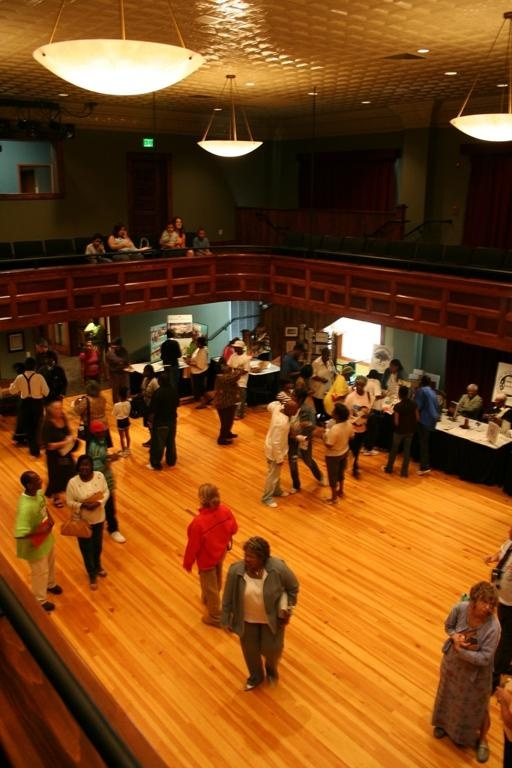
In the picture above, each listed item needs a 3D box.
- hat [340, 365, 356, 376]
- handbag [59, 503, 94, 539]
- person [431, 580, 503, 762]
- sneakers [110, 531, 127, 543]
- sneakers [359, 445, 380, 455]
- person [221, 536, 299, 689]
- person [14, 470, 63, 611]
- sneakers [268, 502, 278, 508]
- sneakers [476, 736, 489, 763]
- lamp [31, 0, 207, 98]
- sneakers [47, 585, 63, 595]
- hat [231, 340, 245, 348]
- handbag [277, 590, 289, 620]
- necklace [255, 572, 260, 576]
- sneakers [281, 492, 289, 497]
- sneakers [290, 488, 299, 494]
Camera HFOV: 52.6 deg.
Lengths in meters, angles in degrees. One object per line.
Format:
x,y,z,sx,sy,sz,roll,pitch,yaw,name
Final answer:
1.823,-0.263,10.266,0.242,0.198,0.570,2,13,7,hat
-2.016,1.609,5.813,0.302,0.430,0.290,-4,14,-18,handbag
1.661,2.266,4.075,0.450,1.565,0.384,6,14,23,person
-1.928,2.136,7.266,0.224,0.098,0.115,16,23,40,sneakers
2.252,1.301,10.147,0.318,0.143,0.139,-2,26,3,sneakers
0.044,1.951,4.413,0.615,1.400,0.459,0,12,6,person
-2.392,1.702,5.647,0.409,1.796,0.672,-6,14,-23,person
0.285,1.895,8.144,0.159,0.055,0.121,-5,14,-22,sneakers
1.844,2.966,4.193,0.070,0.056,0.183,1,26,17,sneakers
-0.836,-2.068,3.244,1.044,0.346,0.600,-4,14,-18,lamp
-2.387,2.444,6.149,0.160,0.106,0.085,-4,41,-18,sneakers
-0.358,-0.850,10.831,0.239,0.130,0.329,-1,13,-5,hat
0.231,1.843,4.311,0.065,0.136,0.190,-4,60,-7,handbag
0.020,1.551,4.224,0.039,0.037,0.010,-19,49,16,necklace
0.471,1.782,8.439,0.123,0.073,0.115,1,13,3,sneakers
0.657,1.745,8.538,0.149,0.092,0.088,-1,13,-3,sneakers
